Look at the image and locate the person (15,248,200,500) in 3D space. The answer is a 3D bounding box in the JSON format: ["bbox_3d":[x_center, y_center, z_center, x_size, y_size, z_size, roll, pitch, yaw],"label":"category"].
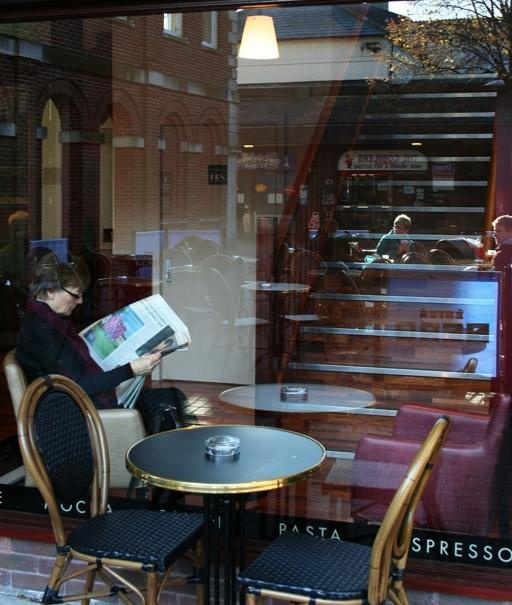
[{"bbox_3d":[-0.647,0.261,2.592,0.862,0.787,0.534,7,8,-1],"label":"person"}]

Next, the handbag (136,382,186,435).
[{"bbox_3d":[-0.417,0.485,2.572,0.212,0.186,0.071,5,-33,-17],"label":"handbag"}]

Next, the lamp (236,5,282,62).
[{"bbox_3d":[0.019,-1.119,2.440,0.202,0.178,0.189,-2,5,-9],"label":"lamp"}]
